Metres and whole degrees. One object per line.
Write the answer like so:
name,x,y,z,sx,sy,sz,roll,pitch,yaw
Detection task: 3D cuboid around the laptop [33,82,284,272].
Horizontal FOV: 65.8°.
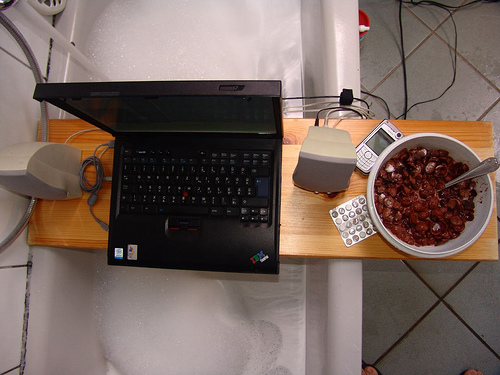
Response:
laptop,-0.188,0.024,1.285,0.704,0.571,0.544,2,76,4

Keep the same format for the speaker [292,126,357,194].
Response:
speaker,0.199,-0.086,1.092,0.182,0.192,0.163,10,111,43

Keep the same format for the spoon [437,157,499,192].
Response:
spoon,0.562,-0.036,1.007,0.145,0.065,0.035,-21,83,0

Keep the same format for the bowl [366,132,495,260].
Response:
bowl,0.476,0.018,1.030,0.320,0.120,0.355,-6,89,7

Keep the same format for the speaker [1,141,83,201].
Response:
speaker,-0.604,-0.048,1.112,0.144,0.260,0.138,4,80,3
